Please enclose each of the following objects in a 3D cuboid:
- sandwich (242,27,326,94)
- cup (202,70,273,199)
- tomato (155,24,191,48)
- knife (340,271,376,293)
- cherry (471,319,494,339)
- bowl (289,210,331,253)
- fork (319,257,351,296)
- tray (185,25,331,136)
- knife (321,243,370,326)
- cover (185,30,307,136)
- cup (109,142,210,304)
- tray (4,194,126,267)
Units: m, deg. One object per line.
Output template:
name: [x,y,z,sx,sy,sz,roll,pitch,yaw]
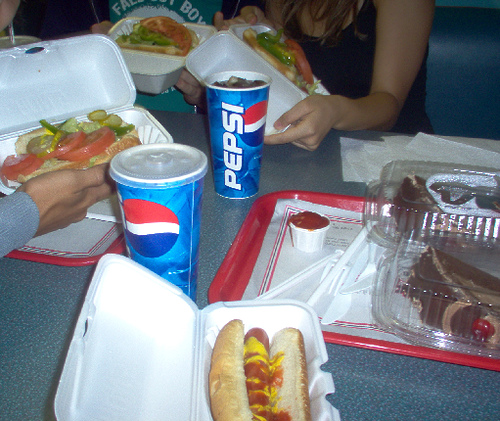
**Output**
sandwich: [0.100,-0.583,1.759,0.390,0.068,0.238,51,43,1]
cup: [-0.031,-0.192,1.181,0.160,0.341,0.184,9,33,13]
tomato: [-0.302,-0.698,1.670,0.116,0.034,0.116,-9,64,-19]
knife: [0.246,0.170,0.950,0.108,0.007,0.032,-23,51,-30]
cherry: [0.437,0.219,0.783,0.039,0.021,0.026,15,50,15]
bowl: [0.142,0.039,1.047,0.094,0.069,0.094,0,31,0]
fork: [0.186,0.148,0.946,0.046,0.021,0.080,11,51,26]
tray: [0.017,-0.434,1.503,0.329,0.102,0.493,-42,84,-8]
knife: [0.211,0.173,0.902,0.052,0.017,0.351,19,30,16]
cover: [-0.013,-0.515,1.550,0.525,0.286,0.125,43,27,-6]
cup: [-0.181,0.018,0.810,0.134,0.289,0.139,7,24,-3]
tray: [-0.416,0.074,1.050,0.227,0.152,0.246,-2,23,0]
